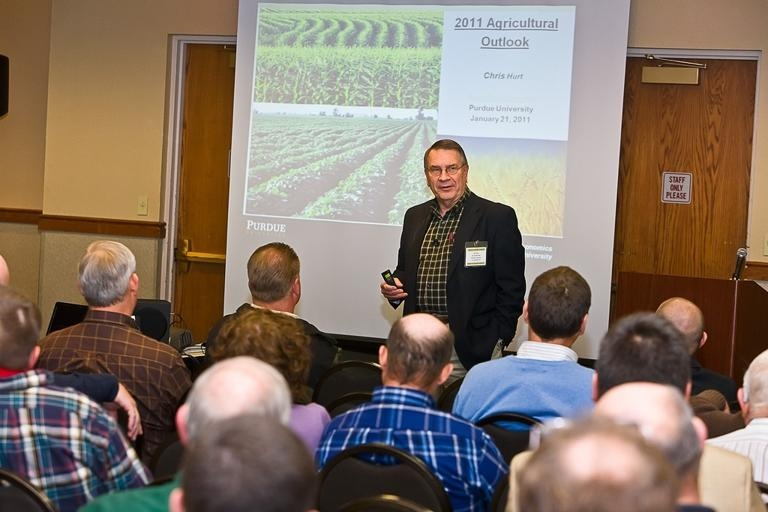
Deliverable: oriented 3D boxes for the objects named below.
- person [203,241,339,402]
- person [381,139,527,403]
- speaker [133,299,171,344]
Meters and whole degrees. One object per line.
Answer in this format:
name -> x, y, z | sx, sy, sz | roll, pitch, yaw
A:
person -> -0.519, 0.279, 2.810 | 0.653, 0.801, 0.458 | 6, 20, 8
person -> 0.412, 0.413, 3.705 | 0.915, 2.337, 0.748 | 9, 19, 32
speaker -> -1.709, 0.533, 4.036 | 0.210, 0.359, 0.353 | -15, -5, -31
